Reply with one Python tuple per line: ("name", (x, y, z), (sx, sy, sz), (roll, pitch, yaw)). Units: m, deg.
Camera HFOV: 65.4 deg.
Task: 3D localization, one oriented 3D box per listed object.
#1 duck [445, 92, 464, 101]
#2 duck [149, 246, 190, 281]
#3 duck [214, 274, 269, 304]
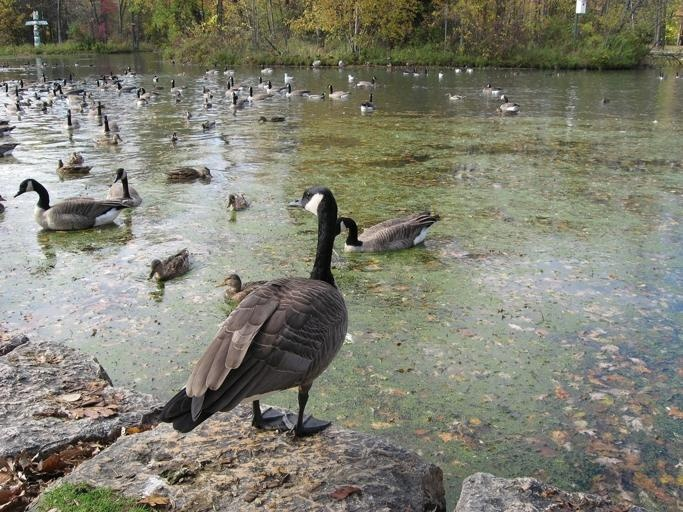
("duck", (6.911, -9.577, 32.288), (0.872, 0.394, 1.378), (0, 14, 8))
("duck", (-3.004, 0.135, 9.499), (0.411, 0.437, 0.697), (19, 50, 19))
("duck", (-1.719, 0.512, 8.689), (0.931, 0.462, 0.435), (-13, 26, -15))
